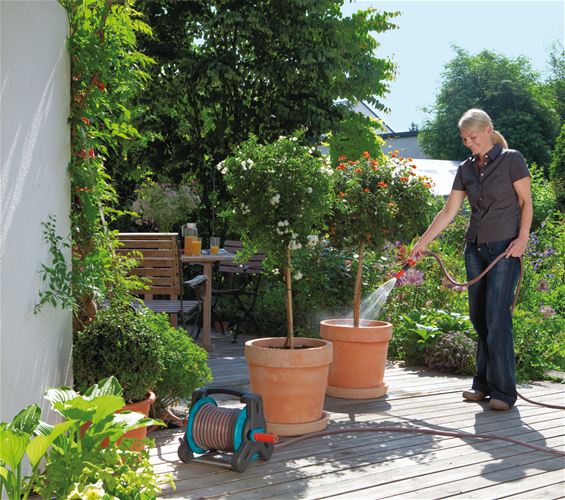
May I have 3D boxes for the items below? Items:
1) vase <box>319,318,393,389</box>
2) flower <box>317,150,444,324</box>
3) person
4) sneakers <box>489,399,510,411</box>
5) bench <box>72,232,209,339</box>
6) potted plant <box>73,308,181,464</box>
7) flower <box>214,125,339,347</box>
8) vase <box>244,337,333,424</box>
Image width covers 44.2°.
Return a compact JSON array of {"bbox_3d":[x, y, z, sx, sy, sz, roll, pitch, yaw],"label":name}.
[{"bbox_3d":[0.537,0.749,5.044,0.571,0.417,0.537,-1,-1,-34],"label":"vase"},{"bbox_3d":[0.609,-0.086,5.158,0.997,1.196,0.797,2,12,-25],"label":"flower"},{"bbox_3d":[1.330,0.047,4.653,0.655,1.973,0.396,6,8,42],"label":"person"},{"bbox_3d":[1.411,0.997,4.502,0.142,0.068,0.088,1,5,7],"label":"sneakers"},{"bbox_3d":[-1.089,0.398,5.719,1.048,1.097,1.040,-3,6,-26],"label":"bench"},{"bbox_3d":[-0.871,0.701,3.750,0.721,0.788,0.684,4,-6,-24],"label":"potted plant"},{"bbox_3d":[-0.040,-0.069,4.360,0.727,1.308,0.805,-5,-3,41],"label":"flower"},{"bbox_3d":[0.036,0.803,4.214,0.531,0.401,0.520,1,-7,8],"label":"vase"}]
